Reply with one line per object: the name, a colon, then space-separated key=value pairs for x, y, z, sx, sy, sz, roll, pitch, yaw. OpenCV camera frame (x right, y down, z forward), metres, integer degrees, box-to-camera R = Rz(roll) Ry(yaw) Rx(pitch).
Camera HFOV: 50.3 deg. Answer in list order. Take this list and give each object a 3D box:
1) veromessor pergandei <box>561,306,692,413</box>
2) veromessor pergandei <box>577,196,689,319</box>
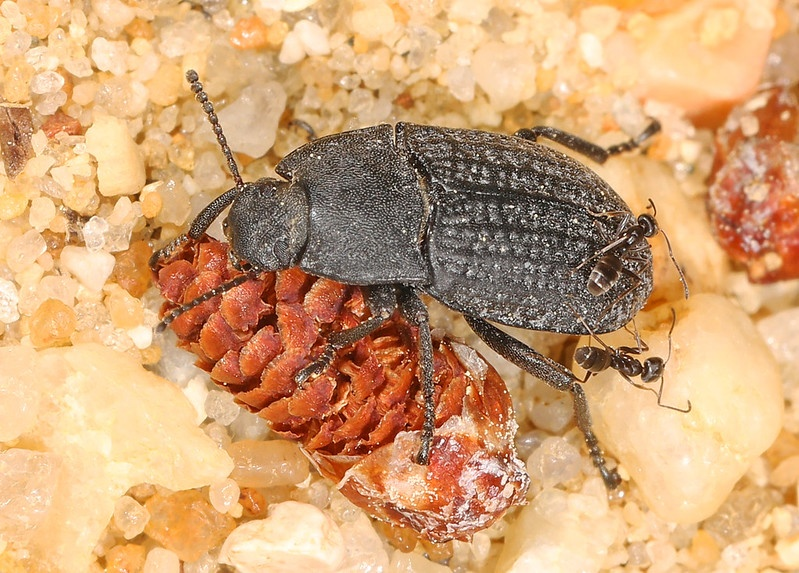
veromessor pergandei: x=1.022 y=0.335 z=3.770 sx=0.455 sy=0.156 sz=0.341 roll=13 pitch=84 yaw=9
veromessor pergandei: x=0.987 y=-0.154 z=3.805 sx=0.442 sy=0.160 sz=0.584 roll=51 pitch=56 yaw=-23
